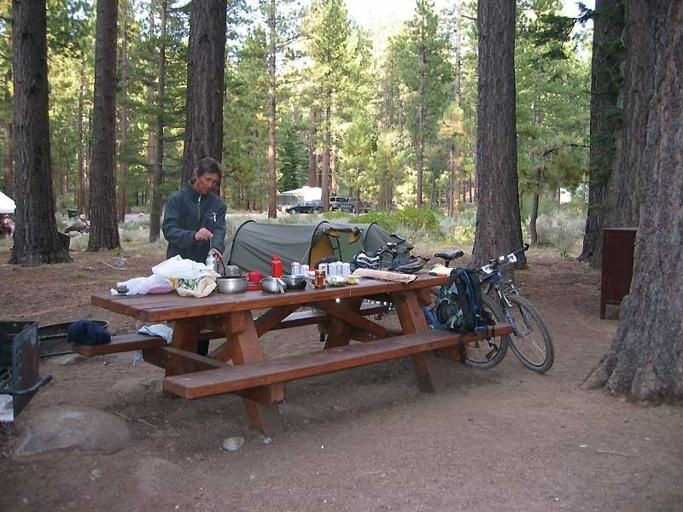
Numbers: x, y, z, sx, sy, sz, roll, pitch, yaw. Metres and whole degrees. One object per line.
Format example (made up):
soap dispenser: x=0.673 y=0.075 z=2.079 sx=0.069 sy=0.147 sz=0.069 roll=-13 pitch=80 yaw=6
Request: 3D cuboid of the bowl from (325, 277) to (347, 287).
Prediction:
bowl: x=-0.050 y=0.259 z=6.301 sx=0.114 sy=0.051 sz=0.121 roll=2 pitch=7 yaw=0

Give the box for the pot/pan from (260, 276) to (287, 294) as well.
pot/pan: x=-0.681 y=0.280 z=6.001 sx=0.248 sy=0.143 sz=0.202 roll=0 pitch=10 yaw=-2

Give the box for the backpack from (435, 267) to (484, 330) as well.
backpack: x=1.359 y=0.493 z=6.919 sx=0.395 sy=0.788 sz=0.634 roll=5 pitch=-1 yaw=-25

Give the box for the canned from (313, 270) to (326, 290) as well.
canned: x=-0.215 y=0.237 z=6.238 sx=0.168 sy=0.189 sz=0.116 roll=-1 pitch=1 yaw=-1

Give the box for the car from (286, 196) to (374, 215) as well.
car: x=-1.125 y=-3.757 z=44.301 sx=4.823 sy=1.453 sz=2.964 roll=-2 pitch=7 yaw=-3
